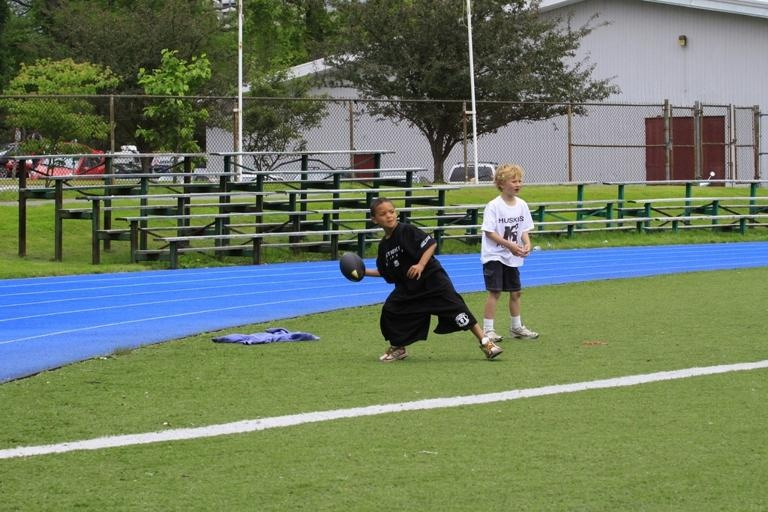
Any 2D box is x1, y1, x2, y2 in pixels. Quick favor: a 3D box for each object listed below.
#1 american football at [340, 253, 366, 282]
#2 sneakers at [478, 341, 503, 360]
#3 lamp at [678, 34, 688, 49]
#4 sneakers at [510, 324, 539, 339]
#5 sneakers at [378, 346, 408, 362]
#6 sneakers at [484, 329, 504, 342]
[{"bbox_3d":[-0.306,0.086,11.101,0.207,0.307,0.236,-30,-31,-19],"label":"american football"},{"bbox_3d":[1.092,0.970,11.079,0.123,0.141,0.299,-35,6,-12],"label":"sneakers"},{"bbox_3d":[10.602,-7.707,38.552,0.195,0.470,0.408,-2,3,-31],"label":"lamp"},{"bbox_3d":[1.547,0.858,12.043,0.370,0.123,0.116,0,4,4],"label":"sneakers"},{"bbox_3d":[0.098,1.019,11.166,0.330,0.128,0.113,-4,5,-16],"label":"sneakers"},{"bbox_3d":[1.181,0.861,11.630,0.242,0.091,0.098,11,10,42],"label":"sneakers"}]
